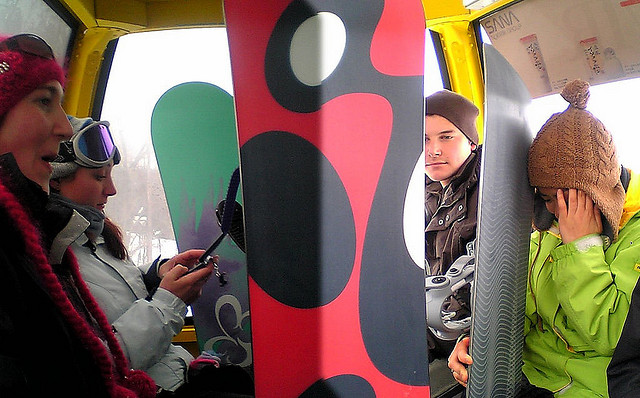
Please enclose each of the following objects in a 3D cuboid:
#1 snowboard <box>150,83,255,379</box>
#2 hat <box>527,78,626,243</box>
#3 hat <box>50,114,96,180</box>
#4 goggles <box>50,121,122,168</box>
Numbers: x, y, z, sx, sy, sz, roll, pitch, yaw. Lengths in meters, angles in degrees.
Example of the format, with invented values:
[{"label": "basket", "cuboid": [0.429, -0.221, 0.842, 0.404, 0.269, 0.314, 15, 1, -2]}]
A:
[{"label": "snowboard", "cuboid": [-0.643, 0.039, 3.077, 0.536, 2.124, 0.228, -13, -1, 7]}, {"label": "hat", "cuboid": [1.107, -0.156, 2.024, 0.415, 0.698, 0.118, -4, -6, -1]}, {"label": "hat", "cuboid": [-1.172, -0.221, 2.236, 0.107, 0.284, 0.222, 12, 15, -21]}, {"label": "goggles", "cuboid": [-1.091, -0.244, 2.263, 0.251, 0.124, 0.199, -19, 9, 12]}]
